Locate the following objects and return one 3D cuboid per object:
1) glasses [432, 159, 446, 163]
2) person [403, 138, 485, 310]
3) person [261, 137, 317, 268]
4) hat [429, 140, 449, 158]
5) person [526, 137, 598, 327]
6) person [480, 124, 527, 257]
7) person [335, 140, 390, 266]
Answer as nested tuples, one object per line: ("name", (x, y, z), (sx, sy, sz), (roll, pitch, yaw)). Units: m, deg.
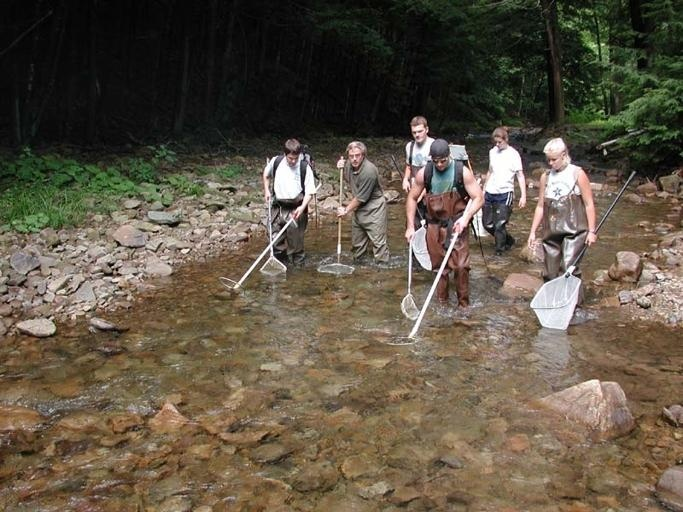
("glasses", (1.269, -1.224, 6.682), (0.160, 0.067, 0.095), (5, 11, 10))
("person", (1.383, -0.420, 7.119), (0.968, 2.275, 0.708), (4, 11, 6))
("person", (-0.955, -0.939, 9.325), (0.895, 2.253, 0.833), (1, 11, -11))
("hat", (1.267, -1.386, 6.728), (0.254, 0.241, 0.279), (6, 11, 15))
("person", (2.927, -0.293, 6.882), (0.785, 2.443, 1.007), (7, 12, 20))
("person", (3.044, -1.176, 9.692), (0.779, 2.338, 1.291), (6, 11, 16))
("person", (0.459, -0.898, 9.178), (0.849, 2.125, 0.745), (3, 11, -1))
